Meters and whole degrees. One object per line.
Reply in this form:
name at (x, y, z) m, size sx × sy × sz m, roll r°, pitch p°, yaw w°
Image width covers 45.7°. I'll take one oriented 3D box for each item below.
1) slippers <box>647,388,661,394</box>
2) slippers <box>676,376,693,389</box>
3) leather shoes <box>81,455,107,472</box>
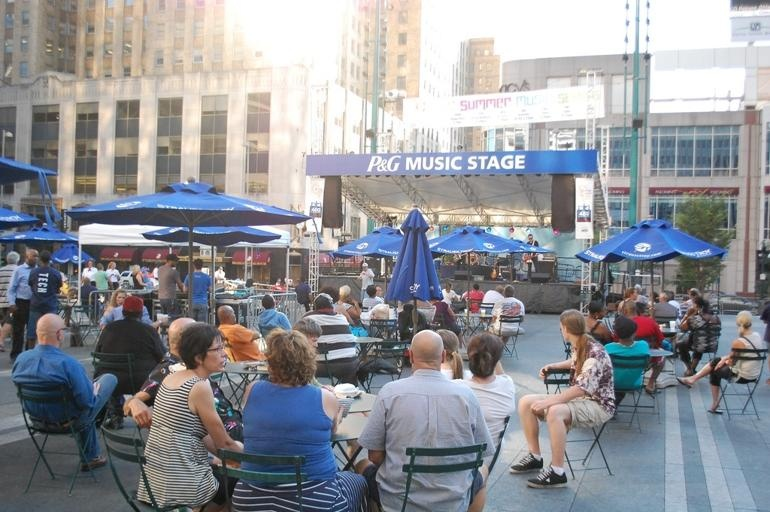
slippers at (6.587, 3.259, 22.132) m, size 0.493 × 0.140 × 0.187 m, roll -2°, pitch -2°, yaw -10°
slippers at (7.401, 3.098, 22.463) m, size 0.347 × 0.150 × 0.219 m, roll 15°, pitch -7°, yaw 3°
leather shoes at (-5.755, 4.094, 18.083) m, size 0.497 × 0.221 × 0.197 m, roll -5°, pitch 4°, yaw -31°
